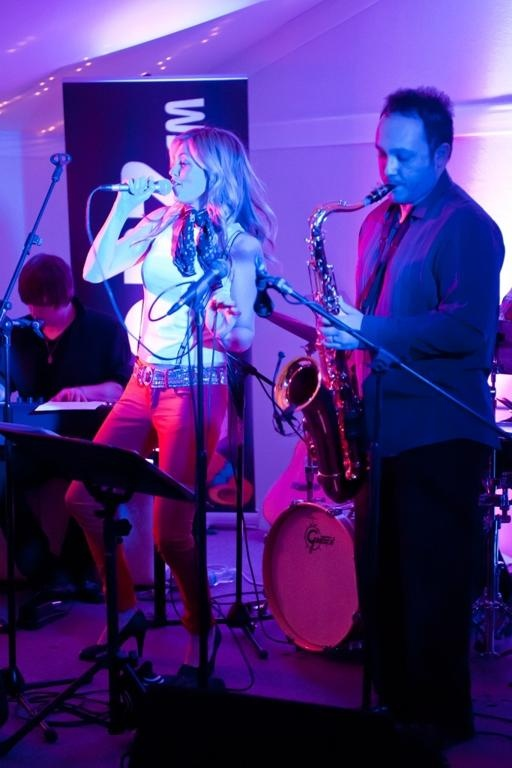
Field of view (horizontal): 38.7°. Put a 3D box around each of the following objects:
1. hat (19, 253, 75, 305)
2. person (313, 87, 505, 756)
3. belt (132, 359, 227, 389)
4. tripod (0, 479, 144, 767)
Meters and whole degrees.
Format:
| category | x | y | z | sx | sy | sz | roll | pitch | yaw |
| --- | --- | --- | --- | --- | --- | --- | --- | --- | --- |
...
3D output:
| category | x | y | z | sx | sy | sz | roll | pitch | yaw |
| --- | --- | --- | --- | --- | --- | --- | --- | --- | --- |
| hat | -1.002 | -0.485 | 3.478 | 0.201 | 0.223 | 0.262 | 7 | 20 | -10 |
| person | 0.381 | 0.100 | 1.976 | 0.426 | 1.758 | 0.462 | -6 | 9 | -41 |
| belt | -0.241 | -0.024 | 2.268 | 0.301 | 0.083 | 0.277 | -1 | 7 | -6 |
| tripod | -0.656 | 0.835 | 2.547 | 0.583 | 0.863 | 0.586 | 7 | 8 | -17 |
